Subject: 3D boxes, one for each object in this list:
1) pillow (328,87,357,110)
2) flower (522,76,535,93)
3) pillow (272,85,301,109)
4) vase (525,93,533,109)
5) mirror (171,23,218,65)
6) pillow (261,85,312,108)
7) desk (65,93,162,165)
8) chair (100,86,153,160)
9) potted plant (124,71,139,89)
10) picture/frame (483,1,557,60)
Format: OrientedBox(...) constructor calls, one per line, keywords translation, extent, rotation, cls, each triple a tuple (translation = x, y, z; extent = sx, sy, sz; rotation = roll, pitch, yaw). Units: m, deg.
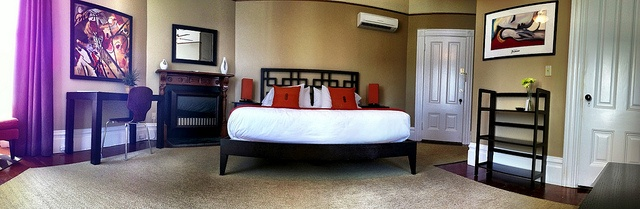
OrientedBox(translation=(1.100, -0.218, 12.423), extent=(0.486, 1.058, 1.414), rotation=(-14, 4, -39), cls="pillow")
OrientedBox(translation=(6.902, -0.636, 10.781), extent=(0.391, 0.477, 0.318), rotation=(3, 6, 28), cls="flower")
OrientedBox(translation=(-1.232, -0.248, 11.919), extent=(1.126, 0.784, 0.281), rotation=(3, -20, -5), cls="pillow")
OrientedBox(translation=(6.847, -0.099, 10.691), extent=(0.218, 0.588, 0.359), rotation=(4, 6, 27), cls="vase")
OrientedBox(translation=(-4.912, -2.312, 12.778), extent=(1.778, 1.449, 0.296), rotation=(-1, -7, -6), cls="mirror")
OrientedBox(translation=(-1.308, -0.298, 12.107), extent=(1.201, 0.878, 0.316), rotation=(-1, 20, -30), cls="pillow")
OrientedBox(translation=(-7.257, 0.508, 11.472), extent=(3.219, 1.916, 2.020), rotation=(-4, -1, -18), cls="desk")
OrientedBox(translation=(-7.015, 0.564, 11.862), extent=(1.983, 2.448, 1.881), rotation=(2, 0, 23), cls="chair")
OrientedBox(translation=(-7.042, -0.966, 12.262), extent=(0.867, 0.590, 0.764), rotation=(0, 6, -28), cls="potted plant")
OrientedBox(translation=(6.678, -2.473, 10.948), extent=(2.124, 1.923, 0.205), rotation=(2, 6, 15), cls="picture/frame")
